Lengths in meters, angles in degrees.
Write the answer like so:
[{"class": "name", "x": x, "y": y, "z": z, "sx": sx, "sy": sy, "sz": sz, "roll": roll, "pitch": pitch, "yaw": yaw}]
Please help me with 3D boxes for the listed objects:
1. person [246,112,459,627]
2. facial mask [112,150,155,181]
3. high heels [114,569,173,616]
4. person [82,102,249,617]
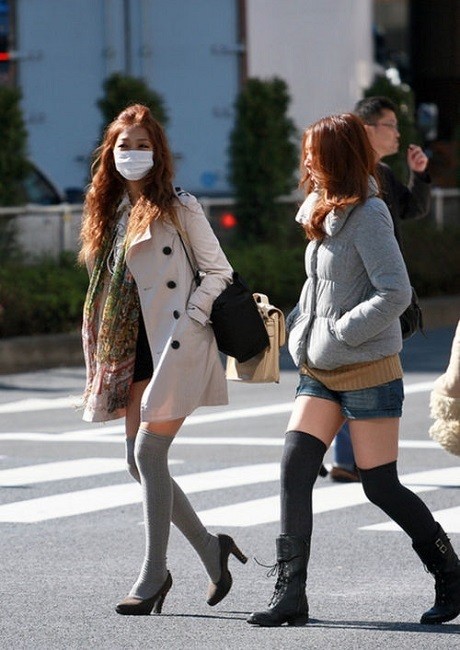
[{"class": "person", "x": 0.434, "y": 0.148, "z": 3.485, "sx": 0.668, "sy": 1.709, "sz": 0.429, "roll": 1, "pitch": 4, "yaw": 12}, {"class": "facial mask", "x": -0.333, "y": -0.567, "z": 3.704, "sx": 0.108, "sy": 0.071, "sz": 0.116, "roll": 1, "pitch": 16, "yaw": 5}, {"class": "high heels", "x": -0.287, "y": 0.933, "z": 3.620, "sx": 0.268, "sy": 0.171, "sz": 0.095, "roll": 2, "pitch": -6, "yaw": -22}, {"class": "person", "x": -0.334, "y": 0.102, "z": 3.713, "sx": 0.566, "sy": 1.786, "sz": 0.450, "roll": 4, "pitch": 5, "yaw": 40}]
